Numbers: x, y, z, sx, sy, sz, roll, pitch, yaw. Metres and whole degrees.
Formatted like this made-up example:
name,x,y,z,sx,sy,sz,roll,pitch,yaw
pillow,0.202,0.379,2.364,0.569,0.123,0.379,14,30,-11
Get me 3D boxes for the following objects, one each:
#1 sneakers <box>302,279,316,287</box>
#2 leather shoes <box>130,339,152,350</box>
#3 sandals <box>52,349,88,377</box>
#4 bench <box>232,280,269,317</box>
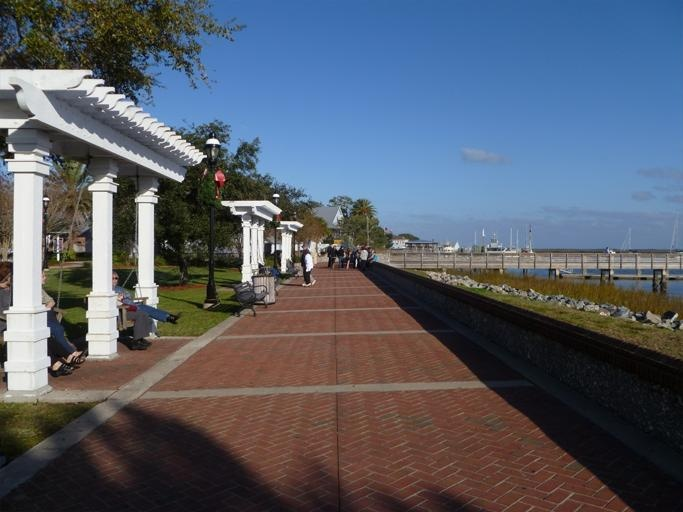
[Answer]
name,x,y,z,sx,sy,sz,roll,pitch,yaw
sneakers,-1.424,1.181,24.254,0.227,0.261,0.652,-2,-2,15
leather shoes,-3.776,1.644,10.511,0.335,0.123,0.203,-2,9,-14
sandals,-4.339,1.690,8.930,0.212,0.177,0.497,-8,19,35
bench,-2.420,1.112,15.240,0.672,0.778,1.705,0,3,4
